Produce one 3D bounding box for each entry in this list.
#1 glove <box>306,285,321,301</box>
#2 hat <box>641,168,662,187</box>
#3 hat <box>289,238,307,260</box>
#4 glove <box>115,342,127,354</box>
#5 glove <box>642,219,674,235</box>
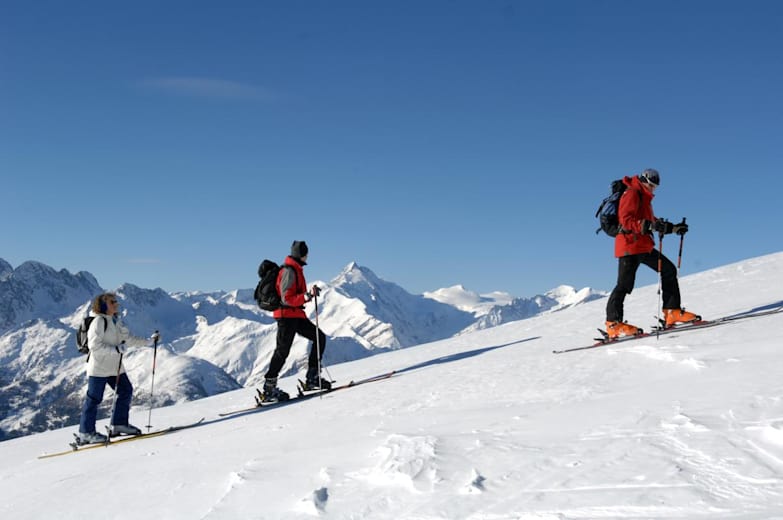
[{"bbox_3d":[-1.609,0.712,14.776,0.153,0.350,0.300,22,6,-39],"label":"glove"},{"bbox_3d":[5.114,-1.625,13.654,0.334,0.398,0.556,7,-6,5],"label":"hat"},{"bbox_3d":[-1.815,-0.193,13.446,0.282,0.337,0.373,13,23,24],"label":"hat"},{"bbox_3d":[-5.255,1.688,13.426,0.284,0.092,0.204,24,24,13],"label":"glove"},{"bbox_3d":[5.243,-0.699,13.666,0.411,0.317,0.583,13,-8,-42],"label":"glove"}]
